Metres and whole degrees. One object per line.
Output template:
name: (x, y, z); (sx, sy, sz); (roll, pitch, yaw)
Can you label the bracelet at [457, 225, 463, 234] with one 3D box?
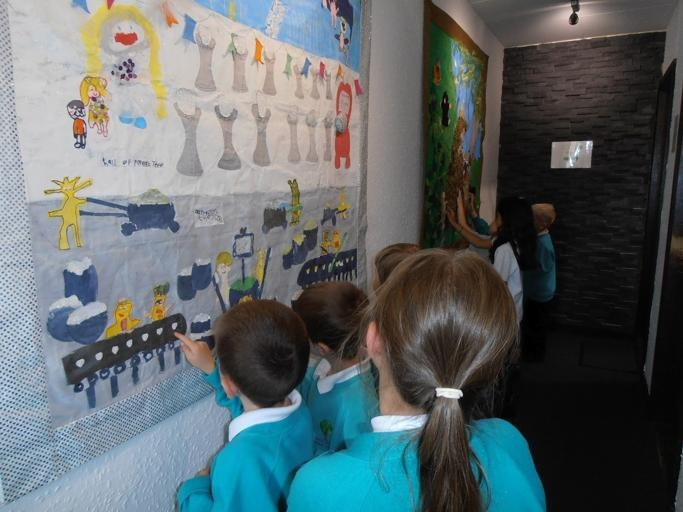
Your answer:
bracelet: (0.868, -0.196, 3.325); (0.032, 0.038, 0.026); (-1, -13, 11)
